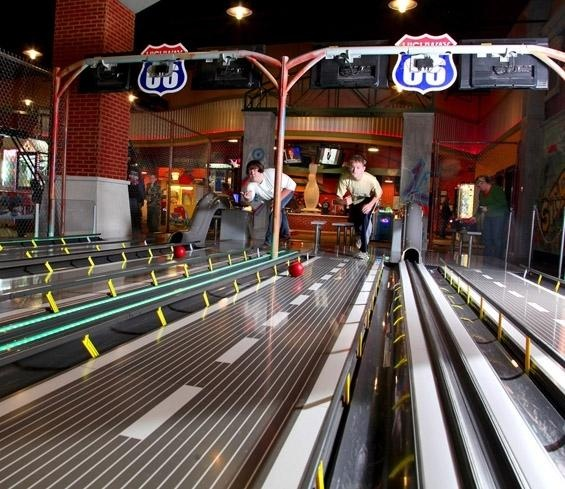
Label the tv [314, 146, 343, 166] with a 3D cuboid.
[{"bbox_3d":[1.611,-2.975,13.370,0.793,0.675,0.508,1,7,6],"label":"tv"}]

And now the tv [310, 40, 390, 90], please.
[{"bbox_3d":[1.053,-2.763,6.162,1.181,0.521,0.326,4,6,4],"label":"tv"}]

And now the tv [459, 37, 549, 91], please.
[{"bbox_3d":[3.087,-2.528,5.370,1.156,0.585,0.720,6,7,22],"label":"tv"}]

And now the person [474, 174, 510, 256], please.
[{"bbox_3d":[3.778,-0.515,7.019,0.435,1.469,0.664,-1,7,-33],"label":"person"}]

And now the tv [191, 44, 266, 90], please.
[{"bbox_3d":[-1.008,-2.986,6.706,1.203,0.522,0.508,5,6,10],"label":"tv"}]

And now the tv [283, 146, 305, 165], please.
[{"bbox_3d":[0.421,-3.240,13.993,0.716,0.830,0.570,1,-4,-3],"label":"tv"}]

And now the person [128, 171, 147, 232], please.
[{"bbox_3d":[-3.349,-1.042,9.004,0.321,1.381,1.108,0,7,-21],"label":"person"}]

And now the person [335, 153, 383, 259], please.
[{"bbox_3d":[1.177,-0.601,6.083,0.670,1.529,0.930,4,6,12],"label":"person"}]

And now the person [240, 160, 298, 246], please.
[{"bbox_3d":[-0.200,-0.636,5.857,0.856,1.369,0.586,-20,22,-36],"label":"person"}]

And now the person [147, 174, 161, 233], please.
[{"bbox_3d":[-3.296,-1.075,10.049,0.364,1.427,0.466,0,6,-20],"label":"person"}]
